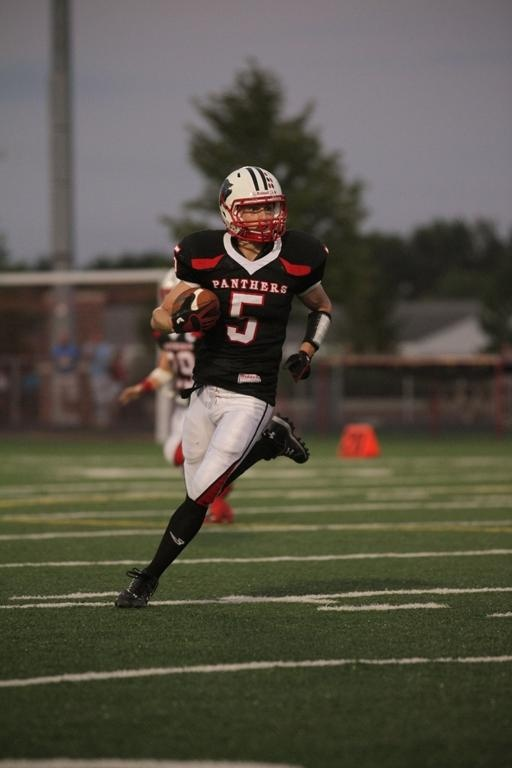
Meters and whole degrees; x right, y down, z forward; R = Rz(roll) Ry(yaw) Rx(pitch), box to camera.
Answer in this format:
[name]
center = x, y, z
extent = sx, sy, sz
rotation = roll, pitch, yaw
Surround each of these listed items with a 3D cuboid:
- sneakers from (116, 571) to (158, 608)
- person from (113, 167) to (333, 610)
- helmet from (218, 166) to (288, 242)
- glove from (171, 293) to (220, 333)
[sneakers]
center = -0.442, 0.789, 3.491
extent = 0.092, 0.081, 0.202
rotation = 28, 10, 5
[person]
center = -0.122, -0.013, 3.539
extent = 1.042, 1.575, 0.533
rotation = -13, 3, -1
[helmet]
center = -0.042, -0.701, 3.552
extent = 0.260, 0.239, 0.331
rotation = -6, 19, -19
[glove]
center = -0.214, -0.257, 3.305
extent = 0.197, 0.128, 0.135
rotation = 3, 1, 0
